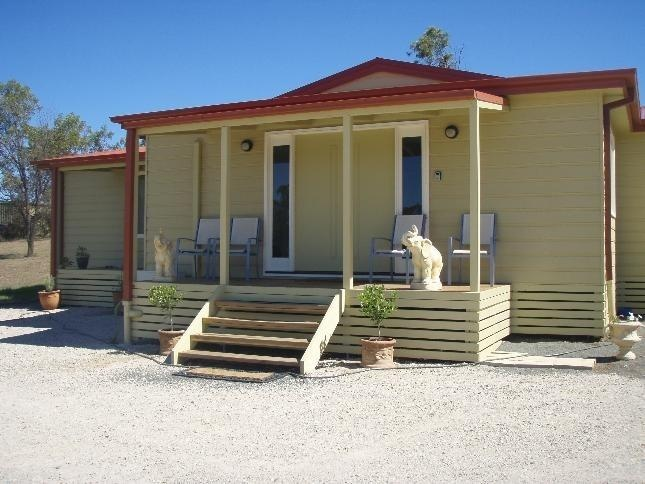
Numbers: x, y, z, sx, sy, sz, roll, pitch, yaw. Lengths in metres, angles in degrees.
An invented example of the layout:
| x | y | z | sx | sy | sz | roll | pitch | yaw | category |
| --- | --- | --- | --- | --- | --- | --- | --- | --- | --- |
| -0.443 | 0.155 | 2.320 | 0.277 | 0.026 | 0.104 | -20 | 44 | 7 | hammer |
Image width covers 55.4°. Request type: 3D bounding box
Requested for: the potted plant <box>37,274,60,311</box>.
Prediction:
| x | y | z | sx | sy | sz | roll | pitch | yaw | category |
| --- | --- | --- | --- | --- | --- | --- | --- | --- | --- |
| -6.521 | 1.202 | 14.662 | 0.761 | 0.746 | 0.740 | 0 | 2 | -29 | potted plant |

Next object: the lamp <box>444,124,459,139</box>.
| x | y | z | sx | sy | sz | roll | pitch | yaw | category |
| --- | --- | --- | --- | --- | --- | --- | --- | --- | --- |
| 2.158 | -1.846 | 10.258 | 0.233 | 0.221 | 0.060 | -11 | 8 | 37 | lamp |

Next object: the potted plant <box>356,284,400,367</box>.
| x | y | z | sx | sy | sz | roll | pitch | yaw | category |
| --- | --- | --- | --- | --- | --- | --- | --- | --- | --- |
| 0.775 | 1.138 | 8.457 | 0.485 | 1.088 | 0.685 | -1 | 4 | 7 | potted plant |

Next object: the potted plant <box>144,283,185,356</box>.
| x | y | z | sx | sy | sz | roll | pitch | yaw | category |
| --- | --- | --- | --- | --- | --- | --- | --- | --- | --- |
| -2.405 | 1.182 | 9.473 | 0.486 | 0.995 | 1.093 | -2 | 4 | -14 | potted plant |

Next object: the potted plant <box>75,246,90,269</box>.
| x | y | z | sx | sy | sz | roll | pitch | yaw | category |
| --- | --- | --- | --- | --- | --- | --- | --- | --- | --- |
| -5.924 | 0.389 | 15.203 | 0.312 | 0.532 | 0.655 | -3 | 4 | -21 | potted plant |

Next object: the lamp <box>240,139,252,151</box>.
| x | y | z | sx | sy | sz | roll | pitch | yaw | category |
| --- | --- | --- | --- | --- | --- | --- | --- | --- | --- |
| -1.405 | -1.812 | 11.517 | 0.254 | 0.238 | 0.063 | 1 | 4 | 25 | lamp |

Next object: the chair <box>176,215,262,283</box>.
| x | y | z | sx | sy | sz | roll | pitch | yaw | category |
| --- | --- | --- | --- | --- | --- | --- | --- | --- | --- |
| -1.833 | 0.115 | 11.226 | 1.236 | 0.842 | 0.502 | -1 | -6 | 22 | chair |

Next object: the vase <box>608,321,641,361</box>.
| x | y | z | sx | sy | sz | roll | pitch | yaw | category |
| --- | --- | --- | --- | --- | --- | --- | --- | --- | --- |
| 4.109 | 1.321 | 8.422 | 0.606 | 0.567 | 0.503 | -1 | -8 | 11 | vase |
